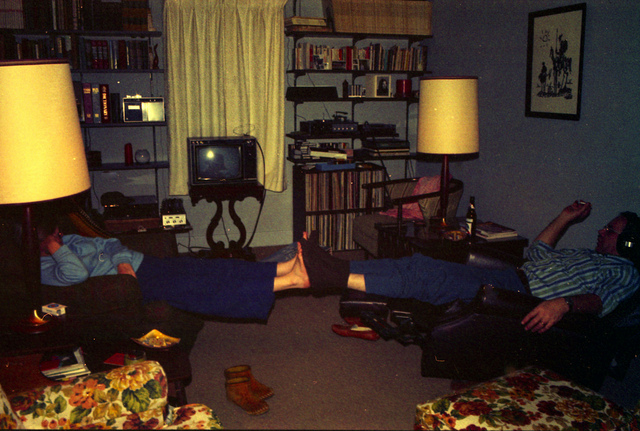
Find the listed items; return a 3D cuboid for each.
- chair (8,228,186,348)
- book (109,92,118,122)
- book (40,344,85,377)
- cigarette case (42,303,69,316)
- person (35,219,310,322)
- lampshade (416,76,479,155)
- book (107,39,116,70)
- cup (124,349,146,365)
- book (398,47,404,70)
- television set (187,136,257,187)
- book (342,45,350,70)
[{"bbox_3d":[-1.384,0.434,3.382,0.748,0.618,0.741,-4,15,-20],"label":"chair"},{"bbox_3d":[-2.144,-1.130,5.300,0.109,0.287,0.034,-9,17,-32],"label":"book"},{"bbox_3d":[-1.479,0.836,2.918,0.170,0.040,0.156,-10,29,-28],"label":"book"},{"bbox_3d":[-1.719,0.603,3.294,0.107,0.028,0.081,9,9,33],"label":"cigarette case"},{"bbox_3d":[-1.002,0.434,3.898,2.395,0.833,0.707,4,0,0],"label":"person"},{"bbox_3d":[0.942,-0.850,4.378,0.632,0.650,0.611,0,7,2],"label":"lampshade"},{"bbox_3d":[-2.114,-1.643,5.169,0.069,0.288,0.110,-11,18,-36],"label":"book"},{"bbox_3d":[-1.076,0.820,2.974,0.092,0.086,0.088,3,-1,0],"label":"cup"},{"bbox_3d":[0.956,-1.863,5.984,0.045,0.181,0.188,7,7,8],"label":"book"},{"bbox_3d":[-0.935,-0.567,5.553,0.814,0.516,0.491,-2,1,14],"label":"television set"},{"bbox_3d":[0.317,-1.815,5.825,0.048,0.253,0.083,-2,14,-6],"label":"book"}]
